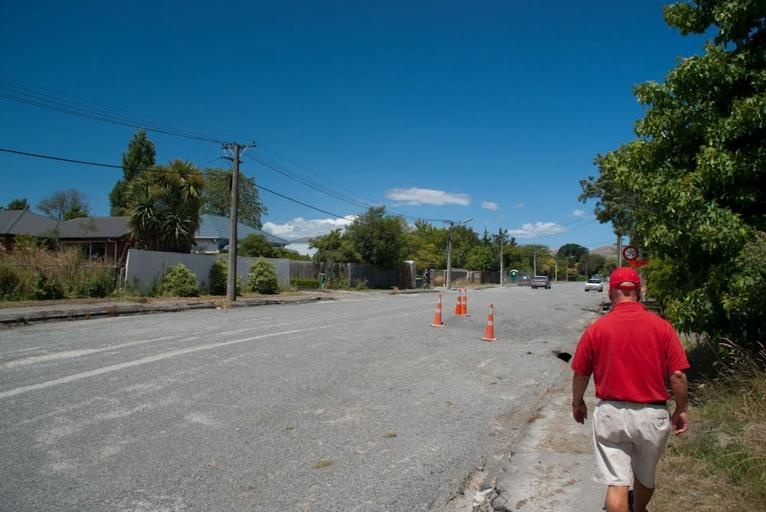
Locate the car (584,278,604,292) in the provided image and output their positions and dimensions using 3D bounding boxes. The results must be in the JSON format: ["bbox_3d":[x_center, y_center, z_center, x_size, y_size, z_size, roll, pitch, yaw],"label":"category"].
[{"bbox_3d":[22.179,3.090,53.010,1.640,1.393,3.442,-3,-7,24],"label":"car"}]
